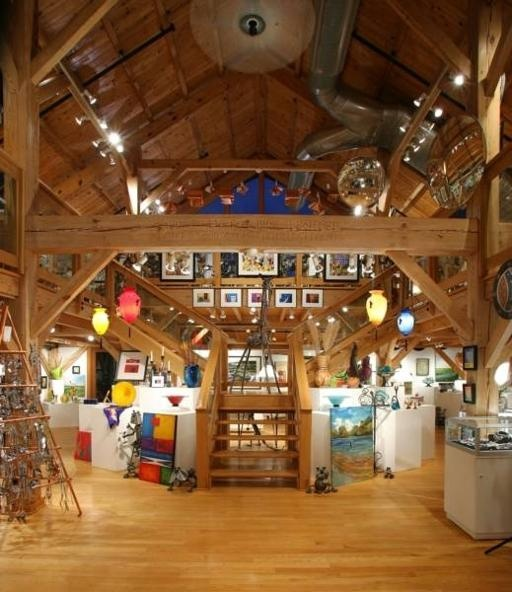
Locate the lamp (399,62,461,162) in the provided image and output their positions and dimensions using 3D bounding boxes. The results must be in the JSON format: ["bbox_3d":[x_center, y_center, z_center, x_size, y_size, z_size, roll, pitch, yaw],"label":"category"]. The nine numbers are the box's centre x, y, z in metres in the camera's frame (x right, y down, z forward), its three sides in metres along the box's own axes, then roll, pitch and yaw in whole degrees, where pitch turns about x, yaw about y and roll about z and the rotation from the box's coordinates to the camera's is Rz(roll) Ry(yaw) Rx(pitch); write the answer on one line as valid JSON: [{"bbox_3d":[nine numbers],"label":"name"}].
[{"bbox_3d":[2.067,-2.287,6.702,0.276,0.366,1.375,38,-21,10],"label":"lamp"}]

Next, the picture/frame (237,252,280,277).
[{"bbox_3d":[0.018,-0.697,12.030,0.679,0.453,0.027,0,-5,-5],"label":"picture/frame"}]

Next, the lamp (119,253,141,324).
[{"bbox_3d":[-1.788,0.112,7.378,0.293,0.529,0.643,2,-4,-15],"label":"lamp"}]

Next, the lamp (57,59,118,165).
[{"bbox_3d":[-2.155,-2.450,7.067,0.391,0.337,1.261,17,-24,15],"label":"lamp"}]

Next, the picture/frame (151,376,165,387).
[{"bbox_3d":[-1.446,1.269,7.790,0.168,0.156,0.163,0,-4,1],"label":"picture/frame"}]
